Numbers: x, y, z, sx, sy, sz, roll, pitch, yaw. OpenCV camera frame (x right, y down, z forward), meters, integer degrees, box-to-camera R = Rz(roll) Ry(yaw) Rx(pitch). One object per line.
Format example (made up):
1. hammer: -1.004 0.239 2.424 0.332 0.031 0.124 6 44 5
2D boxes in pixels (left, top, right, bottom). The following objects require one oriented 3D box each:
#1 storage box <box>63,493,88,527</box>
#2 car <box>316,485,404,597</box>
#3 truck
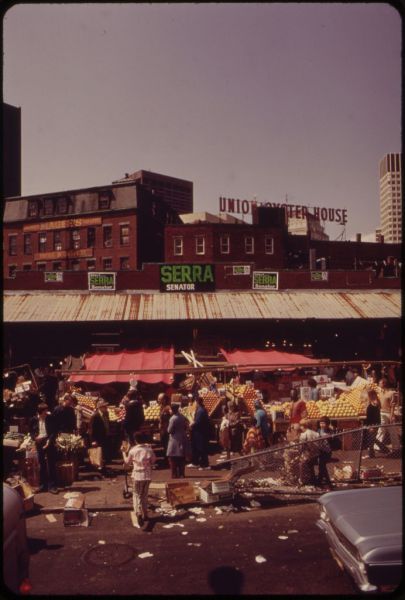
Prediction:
1. storage box: -2.502 4.062 9.784 0.287 0.220 0.730 2 -9 -5
2. car: 2.398 3.391 6.972 1.076 0.719 1.615 -1 6 -7
3. truck: -2.581 3.461 6.821 0.305 1.520 1.003 -2 5 -20
